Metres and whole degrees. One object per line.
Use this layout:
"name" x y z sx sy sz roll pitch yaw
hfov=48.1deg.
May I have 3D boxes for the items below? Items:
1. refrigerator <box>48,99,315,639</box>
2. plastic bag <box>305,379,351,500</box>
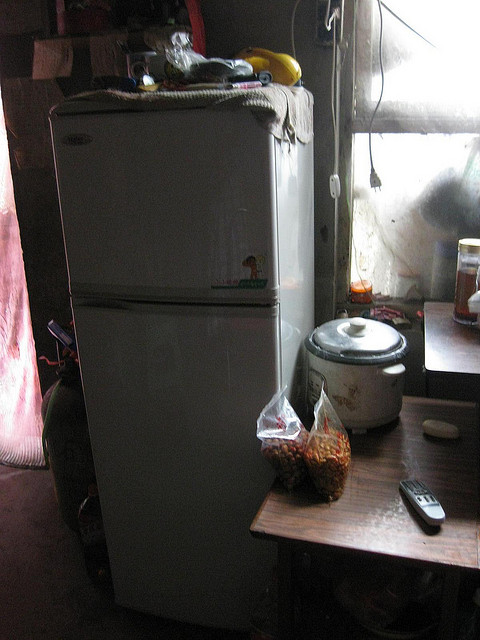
"refrigerator" -0.082 0.262 1.602 0.518 1.751 0.618 1 17 10
"plastic bag" 0.184 0.260 1.124 0.088 0.179 0.169 3 15 15
